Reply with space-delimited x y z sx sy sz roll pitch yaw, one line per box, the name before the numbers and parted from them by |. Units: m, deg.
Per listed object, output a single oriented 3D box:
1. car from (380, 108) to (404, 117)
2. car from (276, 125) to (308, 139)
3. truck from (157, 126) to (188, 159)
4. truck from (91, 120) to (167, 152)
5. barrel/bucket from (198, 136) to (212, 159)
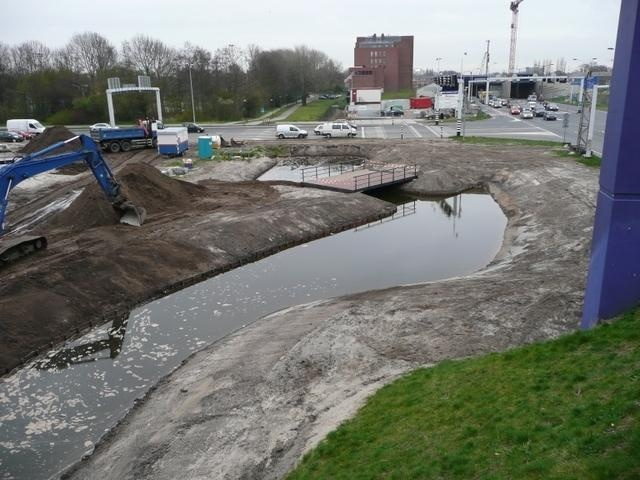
car | 10.079 -17.392 67.370 2.513 0.645 1.391 -2 21 -3
car | -2.838 -10.359 47.128 2.728 0.866 1.361 -1 24 -1
truck | -11.727 -7.715 38.084 1.838 1.670 2.942 -1 15 -2
truck | -15.995 -8.607 40.929 5.574 1.703 2.068 -17 20 -36
barrel/bucket | -8.703 -6.841 36.668 1.007 1.571 1.071 -2 18 1
